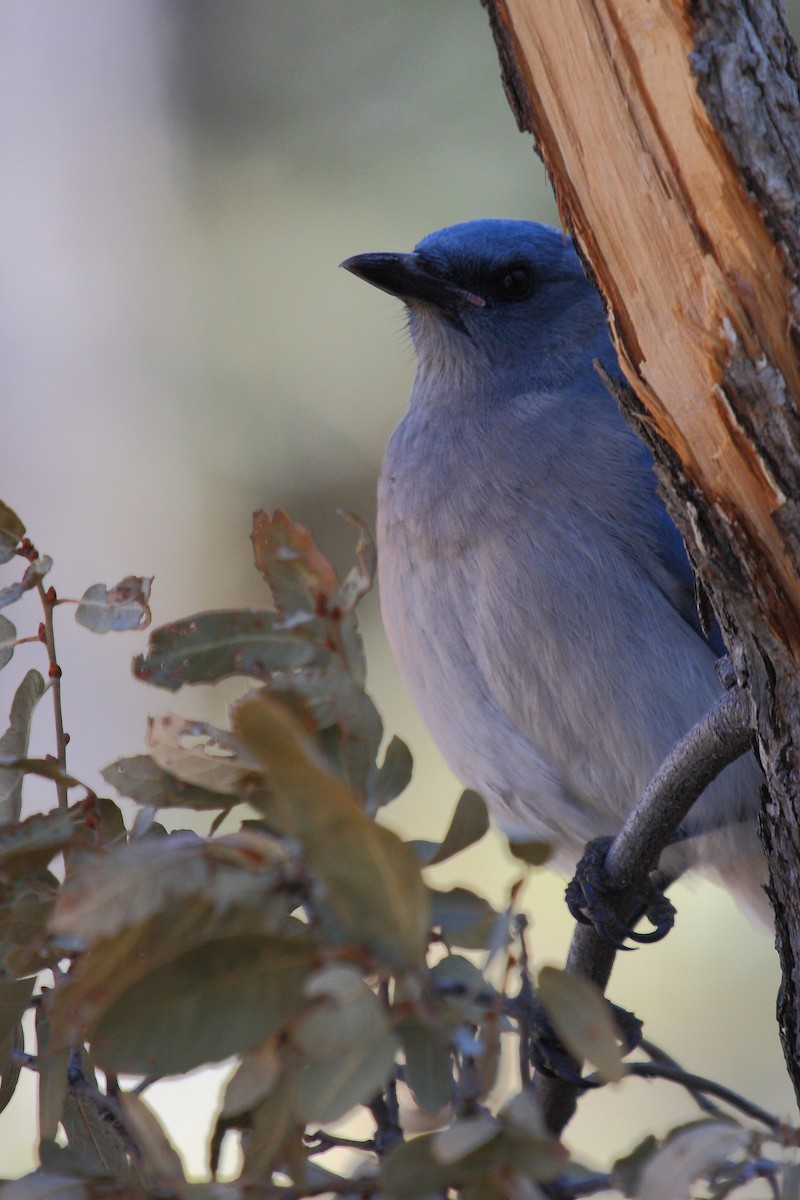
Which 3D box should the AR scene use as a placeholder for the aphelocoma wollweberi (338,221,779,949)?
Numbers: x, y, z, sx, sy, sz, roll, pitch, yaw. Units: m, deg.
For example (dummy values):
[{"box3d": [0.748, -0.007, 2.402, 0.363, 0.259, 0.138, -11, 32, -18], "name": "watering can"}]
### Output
[{"box3d": [0.138, -0.083, 1.824, 0.349, 0.784, 0.400, -14, -2, -2], "name": "aphelocoma wollweberi"}]
